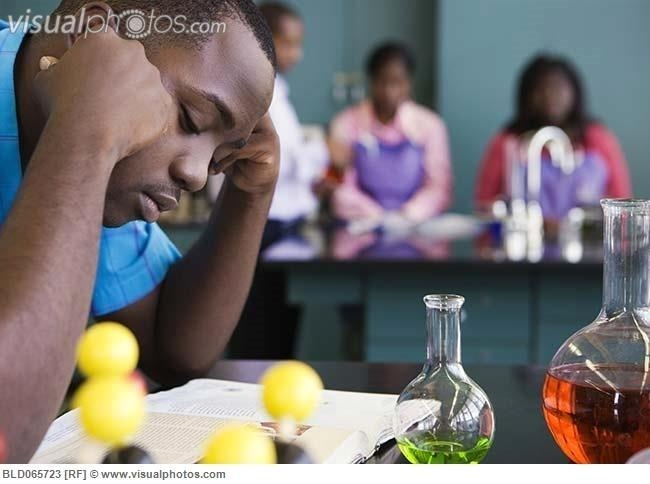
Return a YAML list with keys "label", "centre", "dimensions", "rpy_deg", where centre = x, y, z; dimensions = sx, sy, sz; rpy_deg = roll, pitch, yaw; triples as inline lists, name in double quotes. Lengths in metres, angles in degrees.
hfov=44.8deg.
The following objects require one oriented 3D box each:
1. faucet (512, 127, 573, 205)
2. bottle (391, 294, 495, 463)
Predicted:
- label: "faucet"
  centre: [0.902, -0.336, 3.302]
  dimensions: [0.288, 0.312, 0.535]
  rpy_deg: [2, 4, 17]
- label: "bottle"
  centre: [0.140, 0.160, 0.921]
  dimensions: [0.116, 0.192, 0.063]
  rpy_deg: [1, 4, 8]
